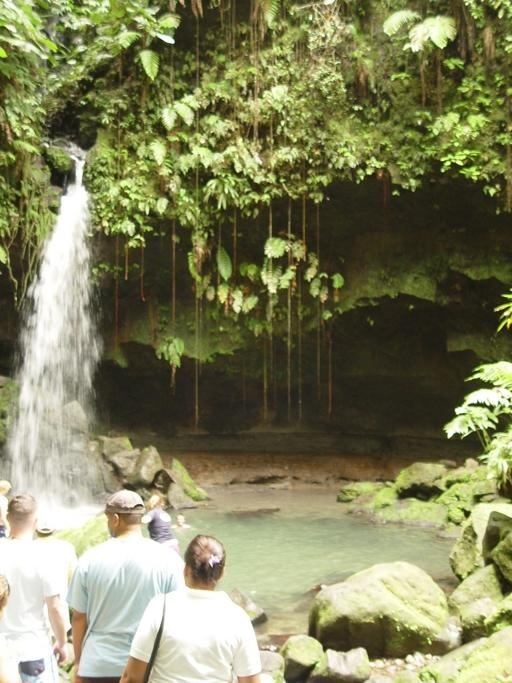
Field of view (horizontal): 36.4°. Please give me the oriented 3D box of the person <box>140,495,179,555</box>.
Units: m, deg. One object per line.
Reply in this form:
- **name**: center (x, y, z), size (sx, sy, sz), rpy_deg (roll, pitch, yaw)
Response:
- **person**: center (-1.024, 1.982, 7.820), size (0.257, 0.845, 0.270), rpy_deg (-9, -14, 16)

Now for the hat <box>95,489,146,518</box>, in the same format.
- **hat**: center (-0.811, 0.966, 4.656), size (0.155, 0.117, 0.206), rpy_deg (13, -14, -38)

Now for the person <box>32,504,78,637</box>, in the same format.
- **person**: center (-1.353, 1.502, 5.084), size (0.301, 0.817, 0.265), rpy_deg (8, 19, -2)
